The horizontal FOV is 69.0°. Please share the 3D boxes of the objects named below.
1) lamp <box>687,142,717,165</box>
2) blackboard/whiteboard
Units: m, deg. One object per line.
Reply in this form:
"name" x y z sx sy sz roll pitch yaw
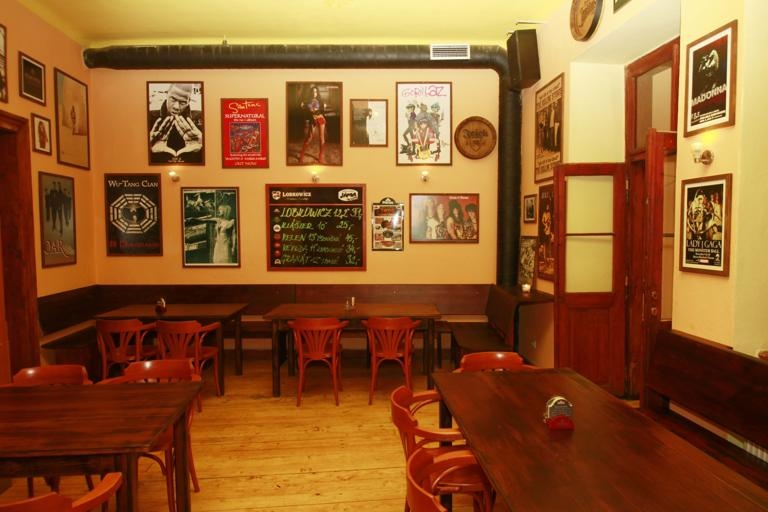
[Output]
"lamp" 3.014 -0.962 5.316 0.205 0.247 0.189 2 -3 -5
"blackboard/whiteboard" -1.082 -0.505 8.483 1.367 1.110 0.132 0 1 0
